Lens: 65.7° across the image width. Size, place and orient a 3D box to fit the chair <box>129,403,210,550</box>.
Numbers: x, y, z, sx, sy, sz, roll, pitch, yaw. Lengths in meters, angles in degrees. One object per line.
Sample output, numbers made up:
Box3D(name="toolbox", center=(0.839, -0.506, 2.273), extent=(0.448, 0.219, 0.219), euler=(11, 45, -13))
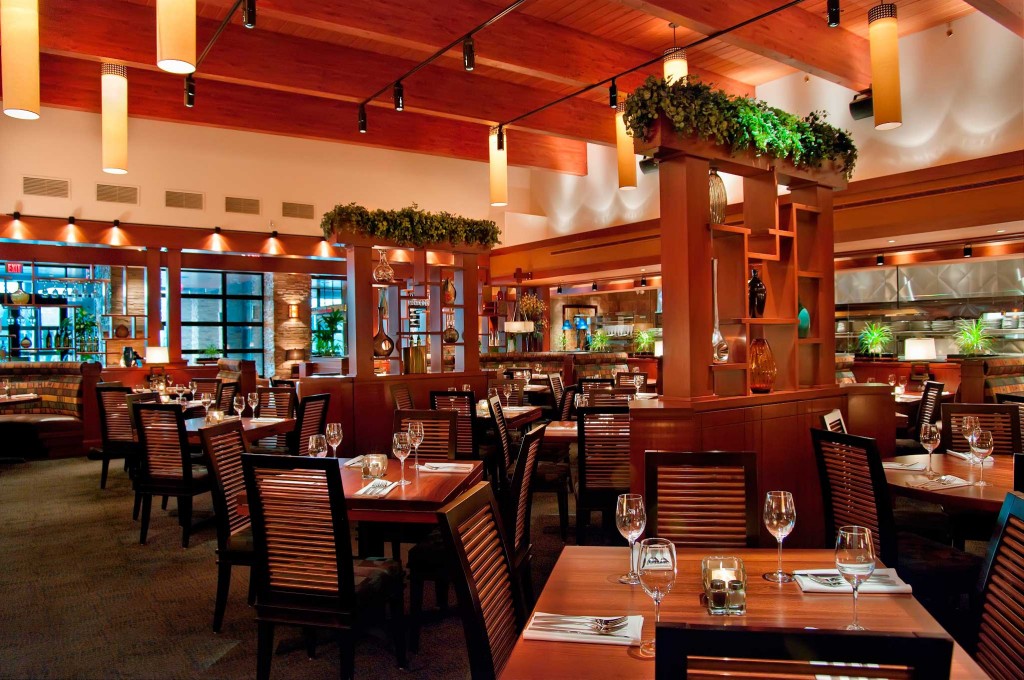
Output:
Box3D(name="chair", center=(-3.348, 1.274, 7.641), extent=(0.775, 1.334, 0.470), euler=(1, 12, 20))

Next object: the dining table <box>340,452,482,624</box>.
Box3D(name="dining table", center=(-0.789, 1.411, 5.874), extent=(0.930, 0.842, 0.910), euler=(-1, -3, 9))

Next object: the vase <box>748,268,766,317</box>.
Box3D(name="vase", center=(2.172, -0.435, 6.992), extent=(0.140, 0.410, 0.312), euler=(1, 12, 19))

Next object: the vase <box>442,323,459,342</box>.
Box3D(name="vase", center=(-0.835, -0.100, 10.650), extent=(0.208, 0.268, 0.203), euler=(0, -1, -44))

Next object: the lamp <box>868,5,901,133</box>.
Box3D(name="lamp", center=(3.162, -2.351, 6.713), extent=(0.261, 1.038, 0.445), euler=(2, 13, 23))

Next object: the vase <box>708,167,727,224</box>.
Box3D(name="vase", center=(1.778, -1.253, 6.857), extent=(0.117, 0.438, 0.242), euler=(0, 12, 15))

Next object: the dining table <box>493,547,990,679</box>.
Box3D(name="dining table", center=(1.031, 1.458, 4.277), extent=(1.259, 0.290, 1.174), euler=(0, 0, 3))

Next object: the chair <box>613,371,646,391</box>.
Box3D(name="chair", center=(1.701, 0.584, 11.384), extent=(0.405, 0.278, 0.380), euler=(0, -4, 5))

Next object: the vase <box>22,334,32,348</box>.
Box3D(name="vase", center=(-9.548, 0.023, 15.508), extent=(0.193, 0.244, 0.188), euler=(-3, -6, 5))

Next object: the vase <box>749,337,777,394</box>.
Box3D(name="vase", center=(2.242, 0.211, 7.017), extent=(0.325, 0.435, 0.317), euler=(-5, 4, 2))

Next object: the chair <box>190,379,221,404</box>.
Box3D(name="chair", center=(-4.040, 0.674, 10.402), extent=(0.254, 0.408, 0.242), euler=(1, -6, -12))

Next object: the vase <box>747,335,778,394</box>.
Box3D(name="vase", center=(2.194, 0.230, 6.948), extent=(0.212, 0.474, 0.340), euler=(0, 12, 16))

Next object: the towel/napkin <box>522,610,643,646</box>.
Box3D(name="towel/napkin", center=(0.373, 1.515, 4.156), extent=(0.409, 0.058, 0.231), euler=(-2, 7, 9))
